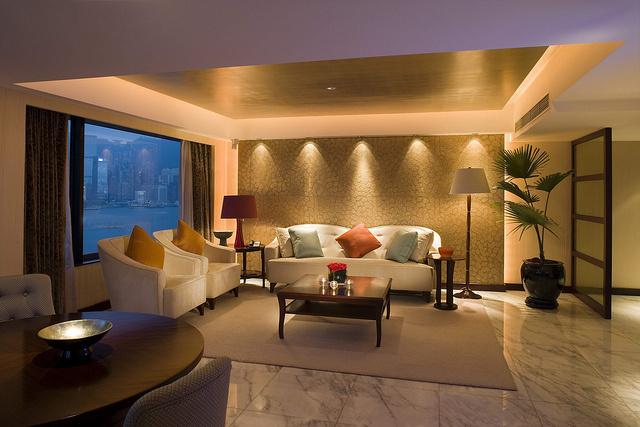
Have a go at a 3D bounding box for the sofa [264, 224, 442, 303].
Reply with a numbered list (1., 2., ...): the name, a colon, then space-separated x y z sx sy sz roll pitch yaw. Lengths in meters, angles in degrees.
1. sofa: 0.476 0.710 6.578 2.778 0.907 0.913 1 6 16

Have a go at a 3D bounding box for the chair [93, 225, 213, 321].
1. chair: -2.013 0.795 5.133 1.094 1.132 1.156 -8 2 -44

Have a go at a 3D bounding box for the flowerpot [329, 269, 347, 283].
1. flowerpot: 0.222 0.765 4.939 0.261 0.175 0.141 2 3 21

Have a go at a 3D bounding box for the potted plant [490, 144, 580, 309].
1. potted plant: 3.170 0.110 6.168 1.090 2.352 1.313 5 11 23

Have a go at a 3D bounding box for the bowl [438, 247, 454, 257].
1. bowl: 1.828 0.558 5.851 0.147 0.084 0.143 -2 0 0

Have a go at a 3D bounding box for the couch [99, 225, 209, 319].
1. couch: -2.192 0.747 5.350 1.317 1.411 1.102 -2 -4 18

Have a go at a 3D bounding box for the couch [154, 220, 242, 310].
1. couch: -1.778 0.681 6.191 1.339 1.390 1.093 -1 -2 17

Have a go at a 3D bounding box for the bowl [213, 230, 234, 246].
1. bowl: -1.610 0.409 6.746 0.264 0.190 0.257 0 0 0

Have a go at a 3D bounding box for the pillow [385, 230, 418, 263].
1. pillow: 1.291 0.515 6.458 0.333 0.522 0.592 2 1 -19

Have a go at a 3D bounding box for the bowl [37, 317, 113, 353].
1. bowl: -1.545 0.766 2.489 0.401 0.128 0.382 -7 -31 -4

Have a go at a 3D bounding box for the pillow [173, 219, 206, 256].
1. pillow: -1.917 0.356 6.020 0.417 0.106 0.454 21 -7 43

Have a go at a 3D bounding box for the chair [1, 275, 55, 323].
1. chair: -2.190 0.622 2.994 0.306 0.387 0.347 3 -7 -44
